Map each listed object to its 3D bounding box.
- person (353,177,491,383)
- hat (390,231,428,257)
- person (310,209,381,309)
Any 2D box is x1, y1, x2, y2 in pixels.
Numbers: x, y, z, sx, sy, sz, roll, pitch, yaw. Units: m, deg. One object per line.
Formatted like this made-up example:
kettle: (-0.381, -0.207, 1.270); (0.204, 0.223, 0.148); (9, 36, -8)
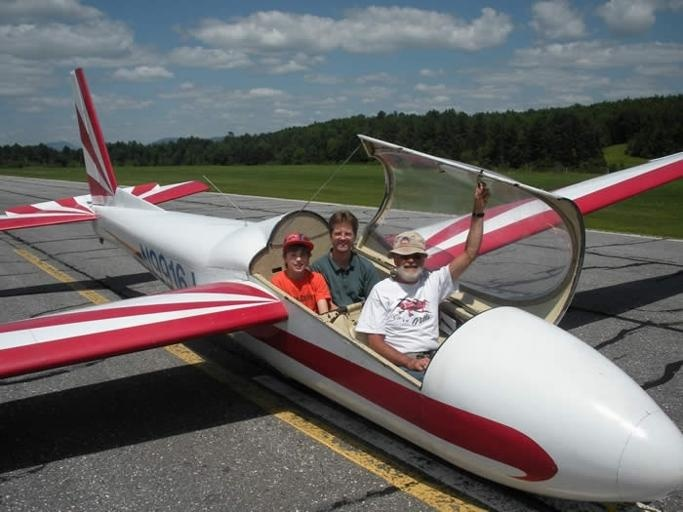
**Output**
person: (0.713, 0.214, 4.154); (1.336, 1.475, 0.915); (-3, 4, -4)
hat: (0.568, -0.111, 4.290); (0.275, 0.110, 0.266); (0, 0, 2)
person: (-0.032, 0.044, 5.326); (1.261, 0.876, 0.421); (-1, 2, -26)
